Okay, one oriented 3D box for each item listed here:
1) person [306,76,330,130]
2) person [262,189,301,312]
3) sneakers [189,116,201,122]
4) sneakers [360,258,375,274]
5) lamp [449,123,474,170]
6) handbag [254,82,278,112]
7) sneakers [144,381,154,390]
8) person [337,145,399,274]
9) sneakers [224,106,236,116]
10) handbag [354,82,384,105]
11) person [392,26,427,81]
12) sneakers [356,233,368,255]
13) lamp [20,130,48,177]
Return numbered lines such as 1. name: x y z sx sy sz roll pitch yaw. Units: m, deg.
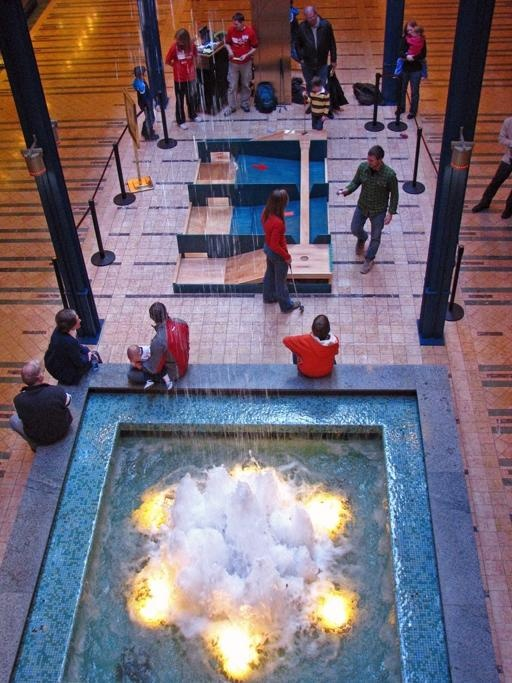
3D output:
1. person: 0.983 -3.726 7.901 0.278 0.901 0.515 1 45 6
2. person: 0.254 -0.886 5.114 0.365 1.415 0.414 -15 45 -11
3. sneakers: -1.073 -3.938 8.930 0.159 0.054 0.106 -3 82 10
4. sneakers: 1.320 -0.898 5.978 0.092 0.113 0.265 16 54 20
5. lamp: 1.642 -1.509 3.901 0.179 0.282 0.271 1 53 5
6. handbag: 0.156 -4.369 9.170 0.394 0.210 0.596 2 91 2
7. sneakers: -0.907 0.373 4.246 0.037 0.114 0.049 10 51 -24
8. person: 1.281 -1.489 5.687 0.620 1.507 0.496 13 49 18
9. sneakers: -0.491 -4.128 9.032 0.235 0.100 0.113 -24 86 -6
10. handbag: 1.932 -4.483 9.100 0.369 0.146 0.713 2 46 6
11. person: 2.457 -4.431 7.948 0.436 1.075 0.342 18 61 18
12. sneakers: 1.286 -1.179 6.160 0.103 0.327 0.132 4 4 5
13. lamp: -1.857 -1.519 4.097 0.178 0.299 0.306 -2 47 -5
